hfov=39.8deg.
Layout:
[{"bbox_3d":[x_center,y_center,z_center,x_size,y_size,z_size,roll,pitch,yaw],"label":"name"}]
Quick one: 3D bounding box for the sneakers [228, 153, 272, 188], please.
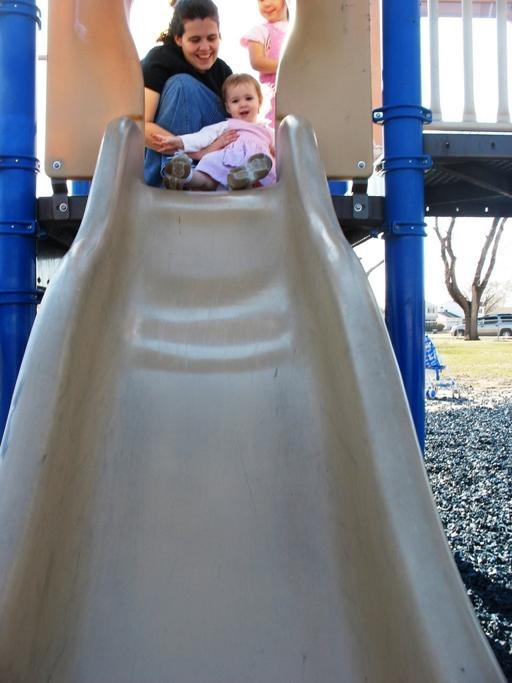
[{"bbox_3d":[-0.014,-0.512,2.210,0.144,0.088,0.064,-38,-12,-5],"label":"sneakers"}]
